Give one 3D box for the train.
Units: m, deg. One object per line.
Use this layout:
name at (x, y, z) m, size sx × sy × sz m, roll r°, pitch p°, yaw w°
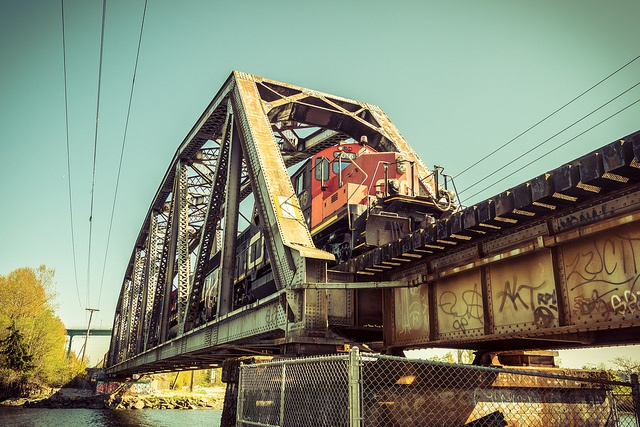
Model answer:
train at (-1.857, 2.460, 30.074) m, size 5.113 × 6.175 × 24.419 m, roll 6°, pitch -19°, yaw -26°
